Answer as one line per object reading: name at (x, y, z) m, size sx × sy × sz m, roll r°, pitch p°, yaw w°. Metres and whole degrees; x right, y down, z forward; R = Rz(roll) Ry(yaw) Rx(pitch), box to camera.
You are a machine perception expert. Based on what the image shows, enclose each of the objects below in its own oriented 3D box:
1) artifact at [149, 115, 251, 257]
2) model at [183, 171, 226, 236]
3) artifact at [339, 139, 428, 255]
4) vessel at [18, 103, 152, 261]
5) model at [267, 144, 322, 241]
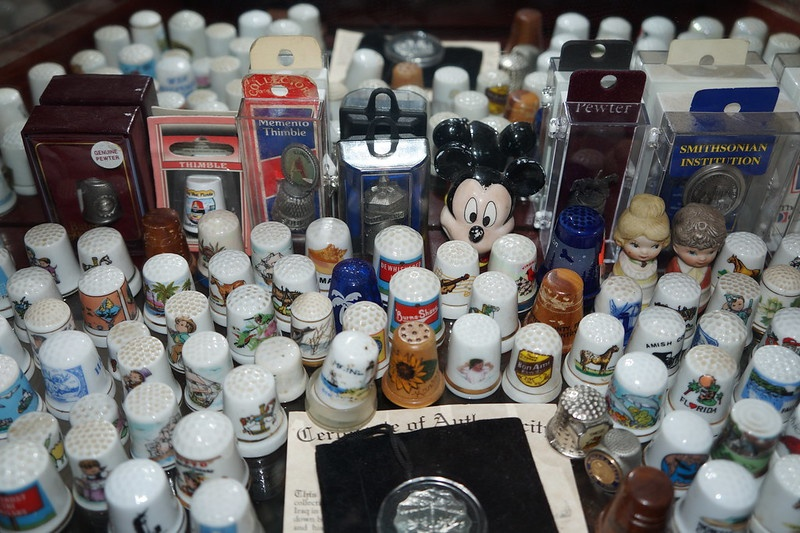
artifact at (-0.712, -0.312, 2.370) m, size 0.324 × 0.517 × 0.171 m, roll -1°, pitch 34°, yaw -14°
model at (-0.677, -0.227, 2.311) m, size 0.170 × 0.198 × 0.184 m, roll 1°, pitch 28°, yaw -4°
artifact at (-0.059, -0.244, 2.355) m, size 0.324 × 0.470 × 0.295 m, roll -12°, pitch 37°, yaw -16°
vessel at (-1.077, -0.280, 2.300) m, size 0.321 × 0.463 × 0.157 m, roll -6°, pitch 32°, yaw -13°
model at (-0.366, -0.286, 2.306) m, size 0.168 × 0.336 × 0.173 m, roll 19°, pitch 42°, yaw 4°
